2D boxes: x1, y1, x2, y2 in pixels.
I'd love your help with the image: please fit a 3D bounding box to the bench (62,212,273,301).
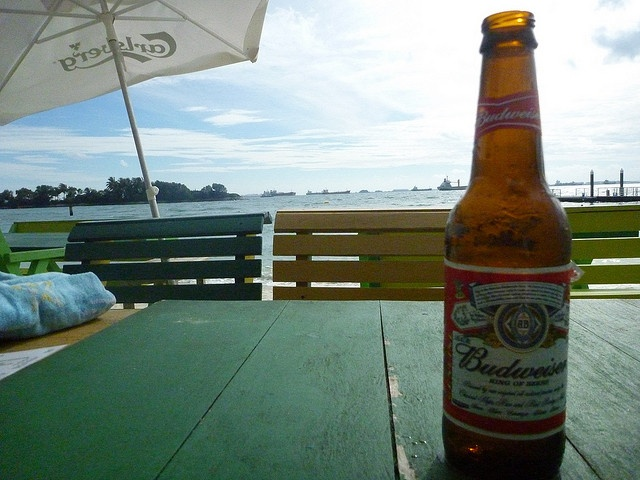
[{"bbox_3d":[-0.831,0.131,2.517,1.365,0.514,0.598,0,7,27],"label":"bench"}]
